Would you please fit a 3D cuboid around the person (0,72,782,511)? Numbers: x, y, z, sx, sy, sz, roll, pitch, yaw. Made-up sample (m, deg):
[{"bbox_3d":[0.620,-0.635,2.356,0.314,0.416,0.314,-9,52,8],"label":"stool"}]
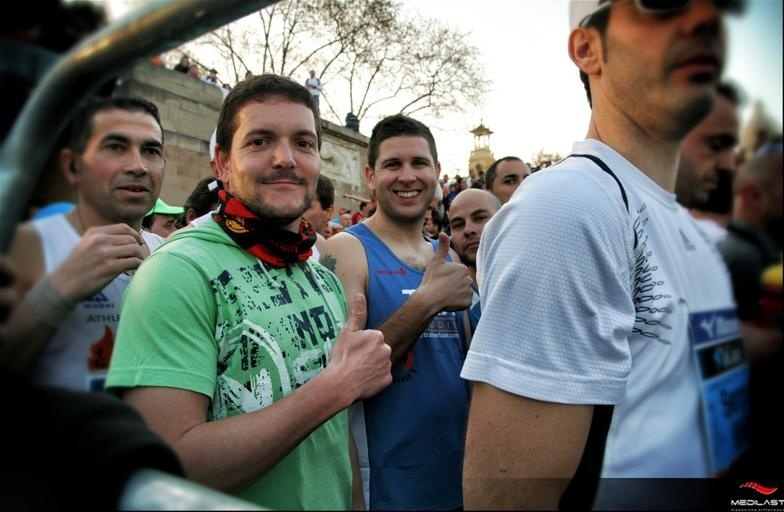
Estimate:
[{"bbox_3d":[0.166,0.170,1.636,1.139,1.103,0.718,-2,-12,7],"label":"person"}]
